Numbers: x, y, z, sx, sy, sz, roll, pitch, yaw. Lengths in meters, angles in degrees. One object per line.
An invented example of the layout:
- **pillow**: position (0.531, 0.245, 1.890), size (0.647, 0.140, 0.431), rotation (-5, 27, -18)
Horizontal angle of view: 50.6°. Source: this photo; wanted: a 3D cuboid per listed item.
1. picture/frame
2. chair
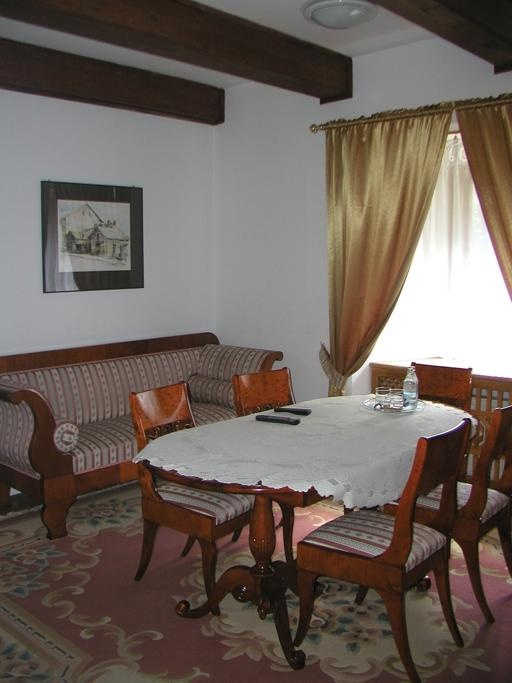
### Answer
- **picture/frame**: position (-1.192, -0.772, 3.980), size (0.793, 0.704, 0.031), rotation (4, 8, 14)
- **chair**: position (0.305, 0.638, 2.149), size (1.497, 0.893, 1.325), rotation (0, 1, 2)
